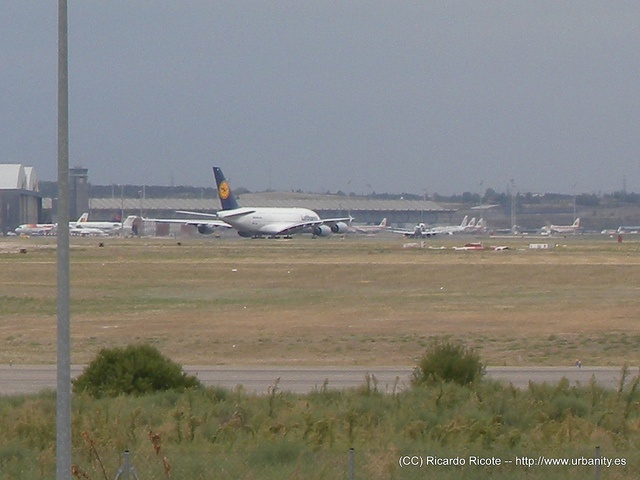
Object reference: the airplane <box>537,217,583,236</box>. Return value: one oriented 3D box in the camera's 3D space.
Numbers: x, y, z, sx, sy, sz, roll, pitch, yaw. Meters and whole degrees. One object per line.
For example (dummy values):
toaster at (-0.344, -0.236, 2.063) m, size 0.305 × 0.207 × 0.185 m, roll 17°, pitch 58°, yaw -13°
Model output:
airplane at (37.035, -2.004, 249.736) m, size 6.123 × 2.462 × 58.548 m, roll 1°, pitch 0°, yaw 9°

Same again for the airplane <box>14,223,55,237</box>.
airplane at (-36.188, -1.390, 203.914) m, size 4.611 × 1.515 × 10.085 m, roll 1°, pitch 0°, yaw -13°

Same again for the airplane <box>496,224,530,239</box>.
airplane at (27.075, -1.324, 230.306) m, size 5.601 × 1.928 × 71.333 m, roll 1°, pitch 0°, yaw 7°

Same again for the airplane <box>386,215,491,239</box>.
airplane at (15.942, -1.959, 225.864) m, size 13.938 × 3.315 × 8.420 m, roll -3°, pitch 2°, yaw -22°
